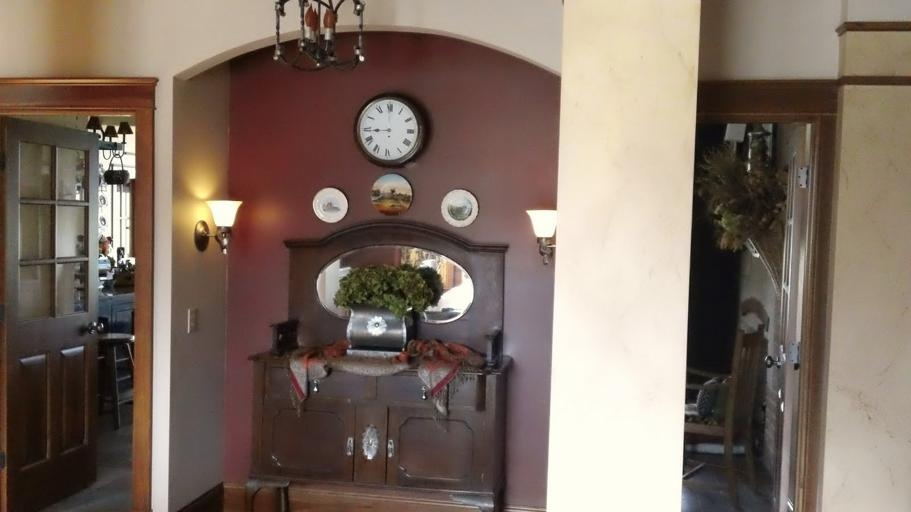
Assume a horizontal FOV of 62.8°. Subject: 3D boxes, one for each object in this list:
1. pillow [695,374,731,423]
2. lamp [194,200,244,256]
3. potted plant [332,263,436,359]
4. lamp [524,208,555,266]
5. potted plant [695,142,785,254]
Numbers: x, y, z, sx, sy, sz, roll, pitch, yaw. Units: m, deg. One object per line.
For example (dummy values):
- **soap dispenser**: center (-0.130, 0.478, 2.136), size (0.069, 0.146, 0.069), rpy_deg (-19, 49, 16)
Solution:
- **pillow**: center (1.781, 1.011, 5.184), size (0.168, 0.406, 0.182), rpy_deg (6, -4, 35)
- **lamp**: center (-1.995, -0.246, 6.252), size (0.358, 0.464, 0.349), rpy_deg (1, 2, -5)
- **potted plant**: center (-0.592, 0.411, 6.097), size (0.803, 0.671, 0.683), rpy_deg (0, 0, 8)
- **lamp**: center (0.681, -0.150, 6.040), size (0.223, 0.444, 0.263), rpy_deg (1, 3, 2)
- **potted plant**: center (1.966, -0.409, 5.318), size (0.594, 0.768, 0.204), rpy_deg (-6, -1, -5)
